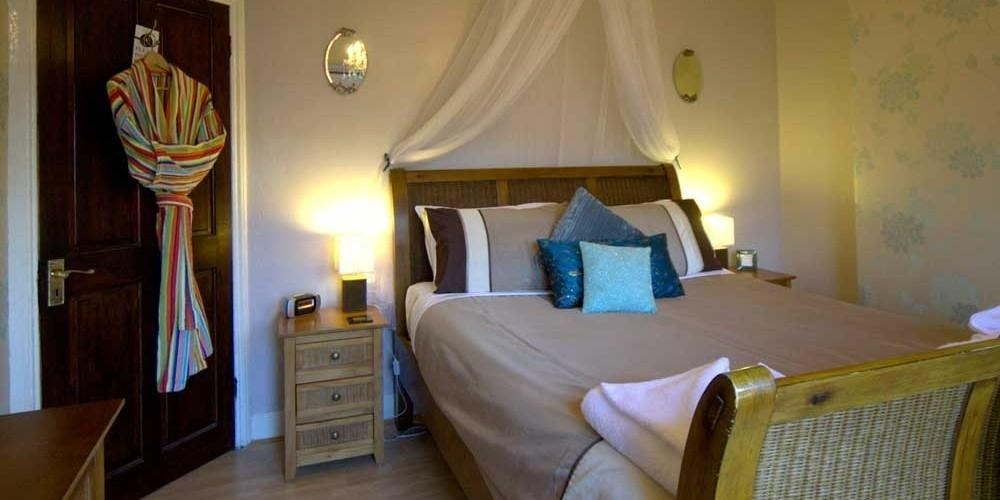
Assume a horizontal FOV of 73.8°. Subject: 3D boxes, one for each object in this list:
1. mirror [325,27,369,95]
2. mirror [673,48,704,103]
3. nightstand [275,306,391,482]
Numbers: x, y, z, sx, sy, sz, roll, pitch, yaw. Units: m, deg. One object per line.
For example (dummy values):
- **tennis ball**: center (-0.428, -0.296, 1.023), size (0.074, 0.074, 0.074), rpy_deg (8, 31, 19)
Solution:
- **mirror**: center (-1.173, -1.438, 5.061), size (0.324, 0.509, 0.048), rpy_deg (-8, 0, -10)
- **mirror**: center (1.641, -1.514, 5.785), size (0.340, 0.419, 0.120), rpy_deg (-5, 6, -16)
- **nightstand**: center (-1.240, 1.038, 4.968), size (0.876, 1.005, 0.879), rpy_deg (-1, 0, -17)
